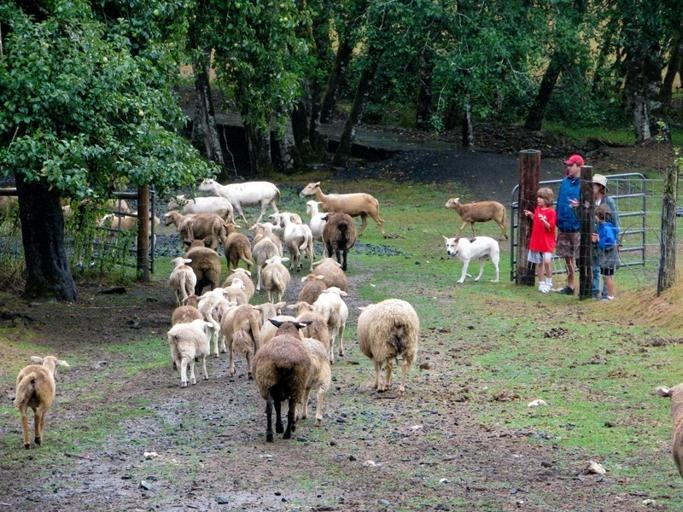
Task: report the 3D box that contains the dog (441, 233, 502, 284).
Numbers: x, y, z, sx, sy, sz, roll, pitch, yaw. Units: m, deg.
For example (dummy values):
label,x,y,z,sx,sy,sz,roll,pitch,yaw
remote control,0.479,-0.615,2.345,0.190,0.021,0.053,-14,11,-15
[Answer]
label,x,y,z,sx,sy,sz,roll,pitch,yaw
dog,3.108,0.061,24.945,1.772,1.161,0.542,-6,11,-28

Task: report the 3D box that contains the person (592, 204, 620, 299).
label,x,y,z,sx,sy,sz,roll,pitch,yaw
person,5.250,-0.093,20.958,0.455,1.856,0.810,2,11,15

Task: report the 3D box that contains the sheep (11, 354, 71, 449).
label,x,y,z,sx,sy,sz,roll,pitch,yaw
sheep,-4.538,2.138,15.720,0.698,1.076,1.209,-2,11,-7

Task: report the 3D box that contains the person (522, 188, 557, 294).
label,x,y,z,sx,sy,sz,roll,pitch,yaw
person,4.242,-0.380,22.352,0.602,2.296,1.043,-2,11,-3

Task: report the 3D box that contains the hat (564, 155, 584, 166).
label,x,y,z,sx,sy,sz,roll,pitch,yaw
hat,4.783,-1.972,21.613,0.291,0.216,0.500,3,11,19
